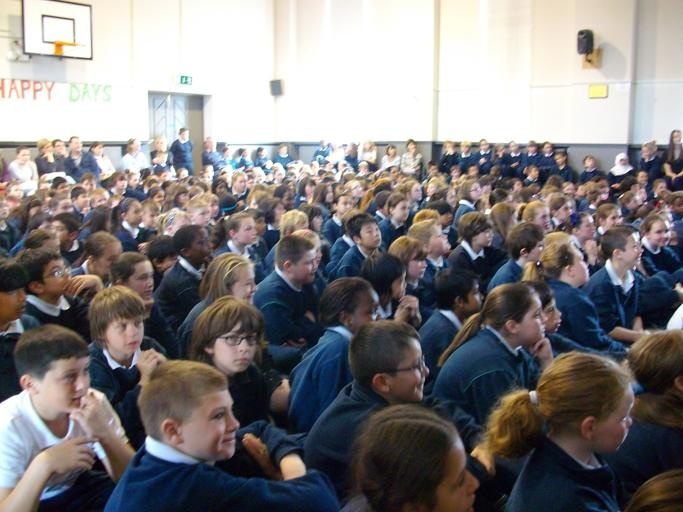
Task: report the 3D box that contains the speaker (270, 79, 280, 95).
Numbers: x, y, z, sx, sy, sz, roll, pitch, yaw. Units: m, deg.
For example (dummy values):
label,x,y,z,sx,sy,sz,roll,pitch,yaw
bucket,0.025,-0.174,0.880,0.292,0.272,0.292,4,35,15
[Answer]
label,x,y,z,sx,sy,sz,roll,pitch,yaw
speaker,-1.719,-4.357,14.433,0.323,0.338,0.118,5,18,21

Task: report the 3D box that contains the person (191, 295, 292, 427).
label,x,y,z,sx,sy,sz,roll,pitch,yaw
person,-0.523,0.536,2.866,0.515,0.719,0.402,-11,16,-30

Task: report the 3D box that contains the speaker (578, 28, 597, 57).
label,x,y,z,sx,sy,sz,roll,pitch,yaw
speaker,4.556,-4.004,10.501,0.319,0.467,0.250,8,12,31

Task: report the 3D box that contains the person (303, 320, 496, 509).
label,x,y,z,sx,sy,sz,roll,pitch,yaw
person,0.251,0.633,2.358,0.809,0.702,0.596,-1,11,18
